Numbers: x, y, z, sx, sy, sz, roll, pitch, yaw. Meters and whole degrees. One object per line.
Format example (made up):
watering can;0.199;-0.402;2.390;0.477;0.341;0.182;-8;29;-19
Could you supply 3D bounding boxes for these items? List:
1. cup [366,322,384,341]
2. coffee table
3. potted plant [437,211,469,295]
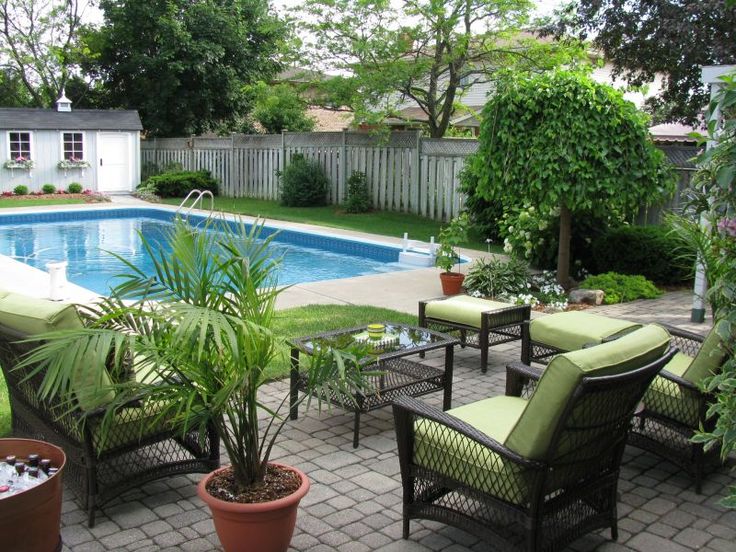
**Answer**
cup;0.063;0.474;4.870;0.137;0.087;0.127;1;15;0
coffee table;0.136;0.781;4.713;1.338;0.661;1.041;-7;11;-41
potted plant;1.257;-0.274;8.786;0.604;1.147;0.496;-3;4;-23
